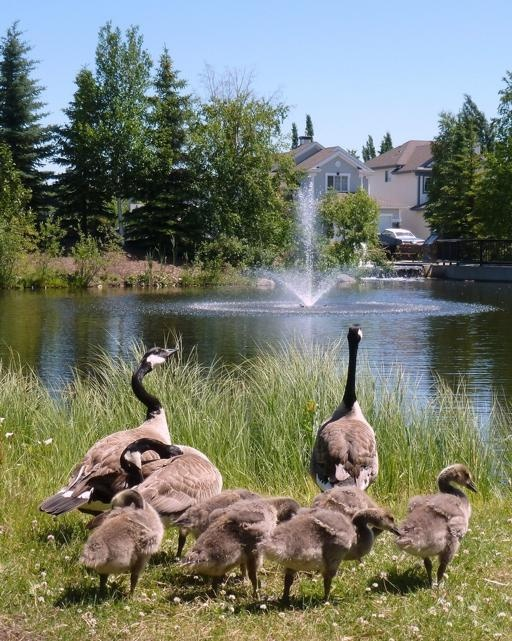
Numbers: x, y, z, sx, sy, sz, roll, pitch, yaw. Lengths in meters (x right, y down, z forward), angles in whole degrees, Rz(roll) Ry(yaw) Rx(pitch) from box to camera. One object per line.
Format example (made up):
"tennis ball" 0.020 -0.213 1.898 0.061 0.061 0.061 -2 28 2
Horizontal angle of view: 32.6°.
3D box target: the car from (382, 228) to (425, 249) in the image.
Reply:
"car" 12.562 -7.263 75.099 1.830 1.442 3.960 -3 2 -30
